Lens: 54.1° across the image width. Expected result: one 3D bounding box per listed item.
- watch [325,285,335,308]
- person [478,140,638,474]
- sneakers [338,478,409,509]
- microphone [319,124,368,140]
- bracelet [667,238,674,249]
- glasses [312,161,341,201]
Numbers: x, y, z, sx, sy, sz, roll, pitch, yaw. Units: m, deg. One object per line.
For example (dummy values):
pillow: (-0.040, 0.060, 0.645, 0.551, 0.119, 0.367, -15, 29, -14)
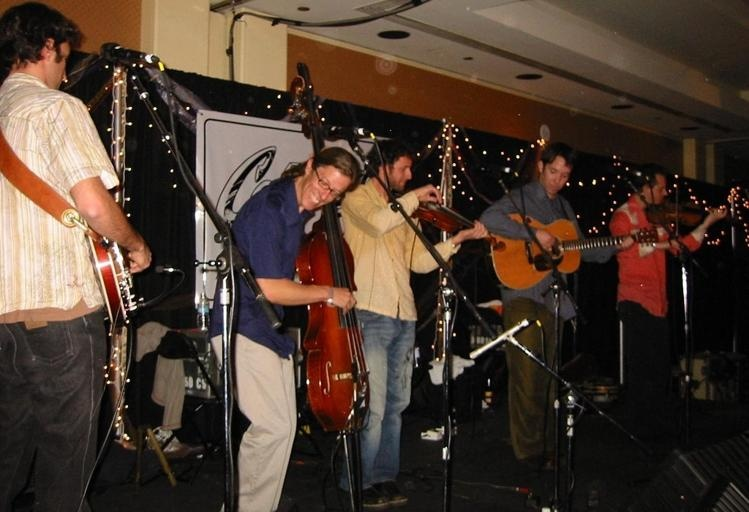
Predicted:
watch: (-0.299, 0.274, 4.984, 0.063, 0.106, 0.102, 2, -40, -5)
person: (1.397, 0.416, 6.252, 1.061, 2.794, 1.582, 3, 3, 17)
sneakers: (0.054, 1.808, 5.509, 0.273, 0.147, 0.396, 6, -16, -29)
microphone: (-0.239, -0.864, 5.102, 0.428, 0.124, 0.117, 5, 8, 27)
bracelet: (2.680, -0.112, 6.675, 0.058, 0.089, 0.023, 1, 9, 14)
glasses: (-0.317, -0.470, 4.840, 0.181, 0.056, 0.181, 50, -10, -31)
